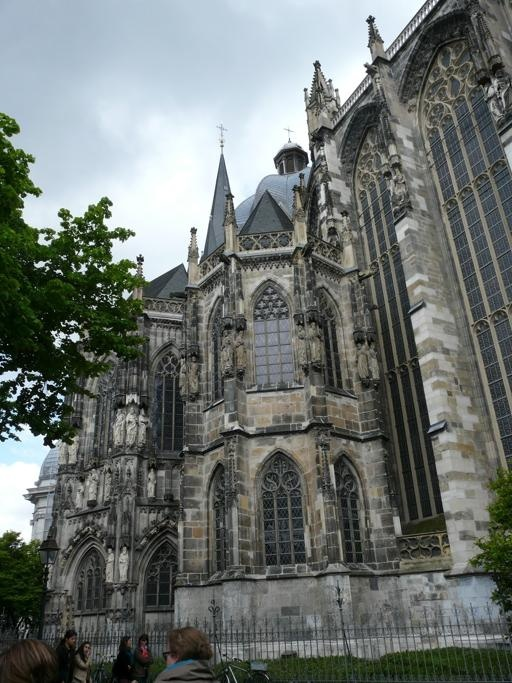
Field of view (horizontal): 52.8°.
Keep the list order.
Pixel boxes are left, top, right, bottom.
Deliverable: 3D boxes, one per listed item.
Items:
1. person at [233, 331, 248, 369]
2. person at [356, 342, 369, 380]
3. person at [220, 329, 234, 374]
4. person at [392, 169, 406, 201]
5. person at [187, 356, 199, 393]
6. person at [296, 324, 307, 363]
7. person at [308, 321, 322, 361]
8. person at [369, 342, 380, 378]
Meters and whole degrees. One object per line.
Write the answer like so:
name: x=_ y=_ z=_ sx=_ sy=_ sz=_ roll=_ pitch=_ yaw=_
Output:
person: x=-0.594 y=0.390 z=18.808 sx=0.423 sy=1.568 sz=0.110 roll=4 pitch=-23 yaw=-18
person: x=4.097 y=0.814 z=19.704 sx=0.443 sy=1.540 sz=0.146 roll=-8 pitch=-23 yaw=11
person: x=-1.021 y=0.415 z=18.789 sx=0.437 sy=1.771 sz=0.200 roll=-6 pitch=-22 yaw=5
person: x=5.669 y=-6.190 z=20.460 sx=0.492 sy=1.492 sz=0.252 roll=-14 pitch=-24 yaw=23
person: x=-2.472 y=1.419 z=20.510 sx=0.452 sy=1.699 sz=0.185 roll=0 pitch=-23 yaw=-8
person: x=1.638 y=0.190 z=18.702 sx=0.198 sy=1.634 sz=0.609 roll=9 pitch=-25 yaw=-27
person: x=2.142 y=0.077 z=18.498 sx=0.516 sy=1.615 sz=0.157 roll=6 pitch=-24 yaw=-21
person: x=4.503 y=0.812 z=19.705 sx=0.497 sy=1.546 sz=0.147 roll=12 pitch=-27 yaw=-33
